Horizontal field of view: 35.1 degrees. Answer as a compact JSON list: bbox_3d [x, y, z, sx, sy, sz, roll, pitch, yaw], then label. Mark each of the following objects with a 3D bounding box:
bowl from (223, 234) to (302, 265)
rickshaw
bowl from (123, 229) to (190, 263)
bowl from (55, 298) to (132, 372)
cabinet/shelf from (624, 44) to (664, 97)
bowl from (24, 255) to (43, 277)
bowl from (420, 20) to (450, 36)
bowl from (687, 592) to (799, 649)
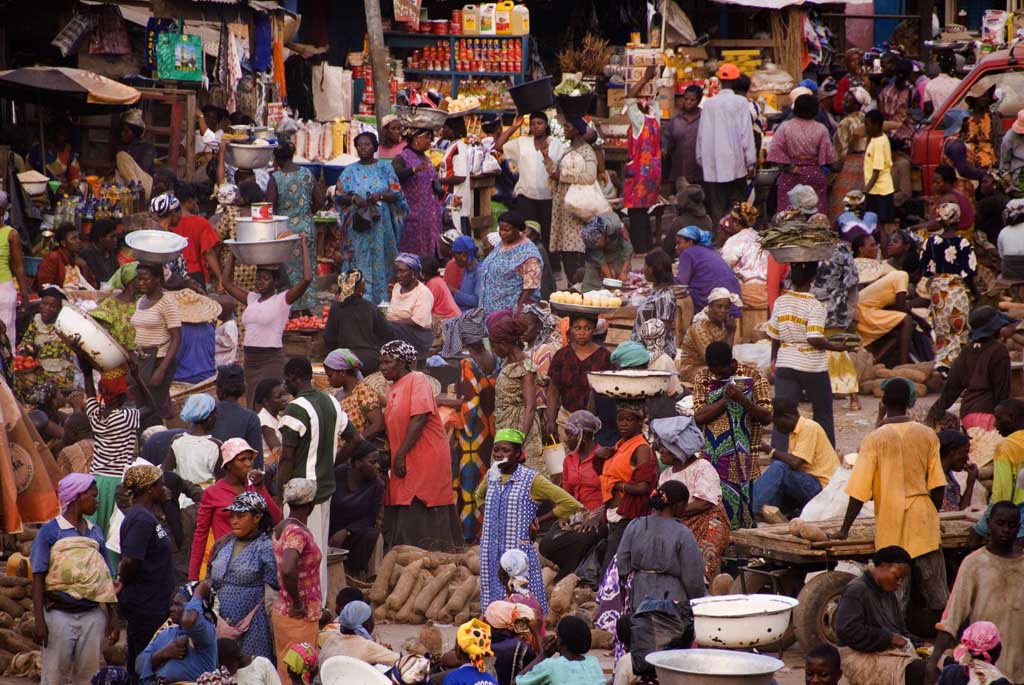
[{"bbox_3d":[-2.781,-0.996,17.710,0.504,0.190,0.533,-8,2,0],"label":"bowl"},{"bbox_3d":[2.626,2.031,13.959,0.771,0.534,1.482,-8,4,-42],"label":"rickshaw"},{"bbox_3d":[-3.844,-1.060,17.431,0.396,0.122,0.474,16,24,29],"label":"bowl"},{"bbox_3d":[-4.067,-0.042,15.534,0.607,0.798,0.443,6,-3,-10],"label":"bowl"},{"bbox_3d":[1.834,-3.994,23.518,0.686,1.058,0.270,2,-11,11],"label":"cabinet/shelf"},{"bbox_3d":[-5.510,-0.876,18.557,0.247,0.273,0.195,1,-5,3],"label":"bowl"},{"bbox_3d":[-1.267,-5.056,25.867,0.304,0.165,0.315,1,6,0],"label":"bowl"},{"bbox_3d":[1.817,2.254,12.905,0.823,0.372,0.362,-1,10,-10],"label":"bowl"}]
